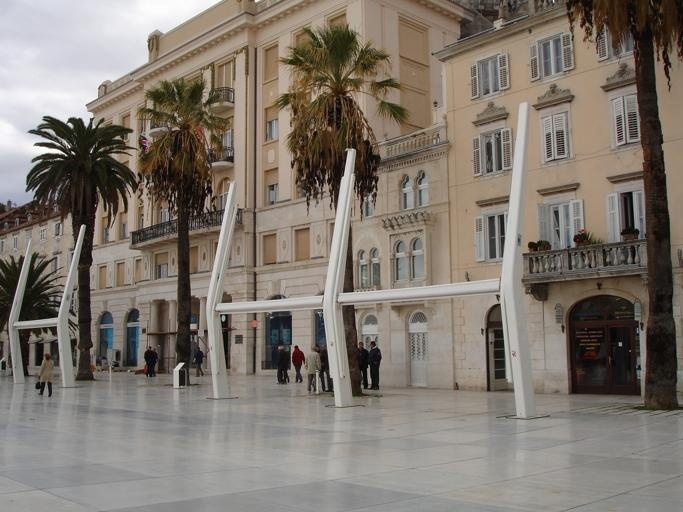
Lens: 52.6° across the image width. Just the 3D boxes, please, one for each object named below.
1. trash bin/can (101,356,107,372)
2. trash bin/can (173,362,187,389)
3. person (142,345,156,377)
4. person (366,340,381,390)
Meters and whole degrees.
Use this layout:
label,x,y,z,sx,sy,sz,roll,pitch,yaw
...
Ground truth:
label,x,y,z,sx,sy,sz,roll,pitch,yaw
trash bin/can,-19.801,9.048,57.574,0.645,1.358,0.677,5,-12,-30
trash bin/can,-7.771,5.733,33.224,0.534,1.234,0.650,2,-10,-14
person,-12.560,6.997,45.531,0.656,1.853,0.735,-4,-10,23
person,1.553,5.084,32.247,0.478,2.268,0.698,-1,-9,2
